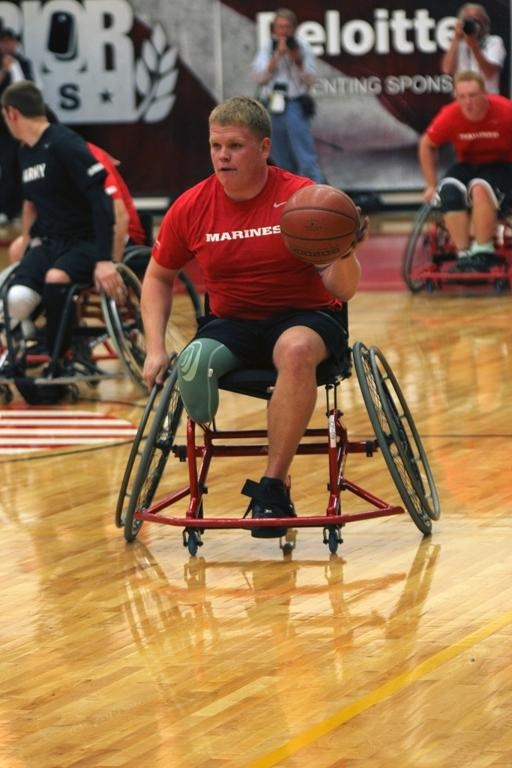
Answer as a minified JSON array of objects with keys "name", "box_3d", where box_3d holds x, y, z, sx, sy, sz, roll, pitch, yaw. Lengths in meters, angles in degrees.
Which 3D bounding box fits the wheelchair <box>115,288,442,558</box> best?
[{"name":"wheelchair","box_3d":[0.065,-0.004,2.364,0.666,0.842,0.668,0,5,14]}]

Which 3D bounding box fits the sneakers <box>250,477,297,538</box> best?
[{"name":"sneakers","box_3d":[0.053,0.320,2.119,0.081,0.092,0.215,0,5,9]}]

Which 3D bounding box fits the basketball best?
[{"name":"basketball","box_3d":[0.163,-0.383,1.955,0.221,0.228,0.197,-2,7,4]}]

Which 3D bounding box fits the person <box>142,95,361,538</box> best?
[{"name":"person","box_3d":[-0.060,-0.234,2.215,0.626,1.177,0.534,-2,3,5]}]

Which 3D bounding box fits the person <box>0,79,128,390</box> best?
[{"name":"person","box_3d":[-1.076,-0.815,4.081,0.837,1.527,0.440,0,4,45]}]
